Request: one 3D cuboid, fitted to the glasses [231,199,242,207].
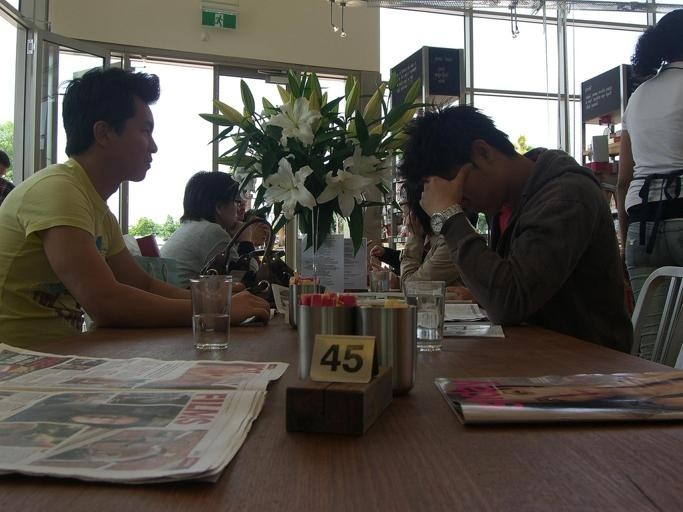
[{"bbox_3d":[-0.649,-0.311,3.233,0.017,0.063,0.056,7,5,-37],"label":"glasses"}]

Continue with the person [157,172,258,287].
[{"bbox_3d":[-0.791,0.007,3.117,0.589,1.007,0.382,2,-10,-34],"label":"person"}]

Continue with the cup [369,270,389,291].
[{"bbox_3d":[0.176,0.118,2.368,0.081,0.096,0.083,2,-4,0],"label":"cup"}]

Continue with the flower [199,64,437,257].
[{"bbox_3d":[-0.091,-0.303,1.592,0.659,0.556,0.365,2,4,6],"label":"flower"}]
